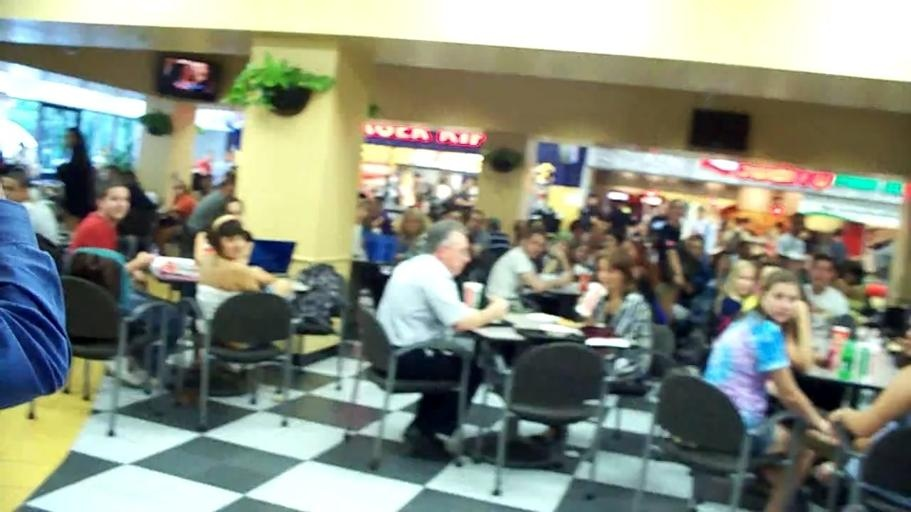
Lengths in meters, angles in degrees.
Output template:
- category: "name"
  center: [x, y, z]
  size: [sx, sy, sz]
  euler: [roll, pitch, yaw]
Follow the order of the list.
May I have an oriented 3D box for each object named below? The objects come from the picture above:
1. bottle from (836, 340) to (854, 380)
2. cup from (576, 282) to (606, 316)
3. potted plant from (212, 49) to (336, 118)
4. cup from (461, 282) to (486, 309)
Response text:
- category: "bottle"
  center: [2.546, 0.675, 4.620]
  size: [0.085, 0.218, 0.206]
  euler: [9, 9, 28]
- category: "cup"
  center: [1.014, 0.324, 5.392]
  size: [0.186, 0.280, 0.104]
  euler: [38, 4, 1]
- category: "potted plant"
  center: [-1.443, -1.331, 5.721]
  size: [0.701, 0.562, 0.259]
  euler: [34, -23, 3]
- category: "cup"
  center: [0.138, 0.290, 5.070]
  size: [0.199, 0.171, 0.178]
  euler: [4, -1, 6]
